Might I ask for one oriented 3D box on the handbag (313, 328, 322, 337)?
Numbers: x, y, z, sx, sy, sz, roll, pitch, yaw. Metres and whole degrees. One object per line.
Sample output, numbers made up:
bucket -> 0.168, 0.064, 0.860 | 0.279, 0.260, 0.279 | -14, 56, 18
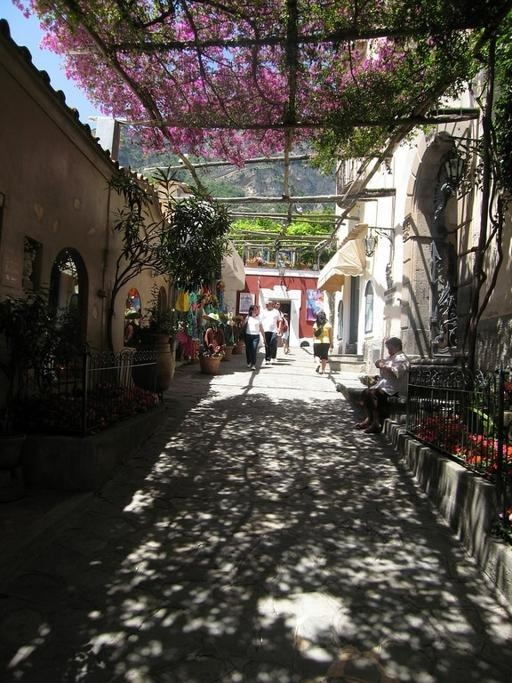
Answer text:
handbag -> 1.819, -0.244, 13.064 | 0.185, 0.259, 0.482 | 2, -5, -7

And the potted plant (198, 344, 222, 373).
potted plant -> -1.223, 0.475, 11.552 | 0.571, 0.848, 0.578 | 3, -5, -19

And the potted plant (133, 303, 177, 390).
potted plant -> -1.755, 0.172, 7.283 | 0.686, 1.321, 0.797 | -1, 0, 10

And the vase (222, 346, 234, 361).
vase -> -1.035, 0.446, 15.747 | 0.392, 0.350, 0.415 | 1, -8, -7

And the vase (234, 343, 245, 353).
vase -> -0.816, 0.316, 20.437 | 0.432, 0.345, 0.459 | 1, -2, 3

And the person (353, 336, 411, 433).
person -> 1.790, 0.619, 6.221 | 0.677, 1.344, 0.559 | 0, -5, 13
